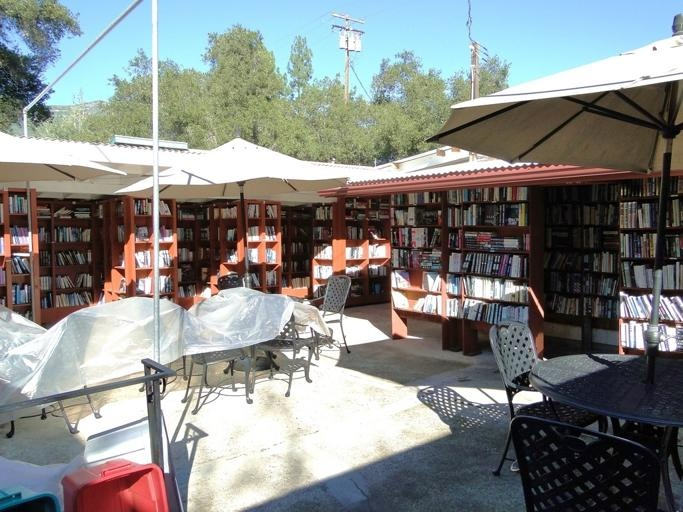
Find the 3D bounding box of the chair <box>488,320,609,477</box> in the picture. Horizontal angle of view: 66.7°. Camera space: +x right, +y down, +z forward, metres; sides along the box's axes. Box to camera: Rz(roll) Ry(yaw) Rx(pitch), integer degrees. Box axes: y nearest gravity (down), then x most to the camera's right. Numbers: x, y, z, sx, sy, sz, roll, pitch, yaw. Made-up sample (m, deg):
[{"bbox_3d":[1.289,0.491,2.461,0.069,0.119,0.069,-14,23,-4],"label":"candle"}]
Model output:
[{"bbox_3d":[1.630,1.192,4.213,0.671,1.147,0.790,-5,8,-35],"label":"chair"}]
